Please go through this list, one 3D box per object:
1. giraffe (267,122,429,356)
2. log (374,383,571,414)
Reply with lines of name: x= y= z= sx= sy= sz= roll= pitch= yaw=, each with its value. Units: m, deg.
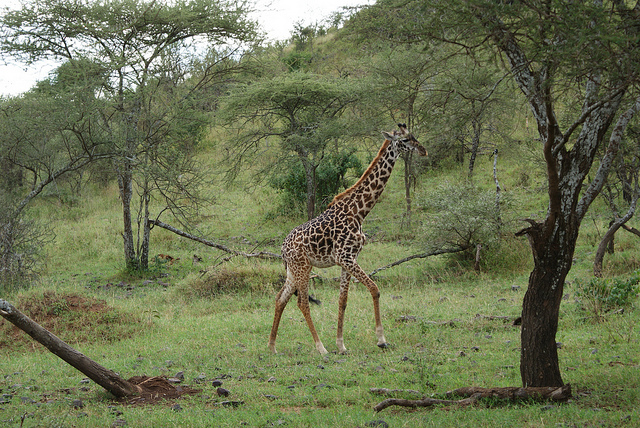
giraffe: x=0.184 y=0.655 z=28.041 sx=4.007 sy=7.877 sz=2.907 roll=-1 pitch=1 yaw=-26
log: x=4.457 y=4.943 z=23.764 sx=4.712 sy=0.500 sz=0.668 roll=-4 pitch=13 yaw=0
